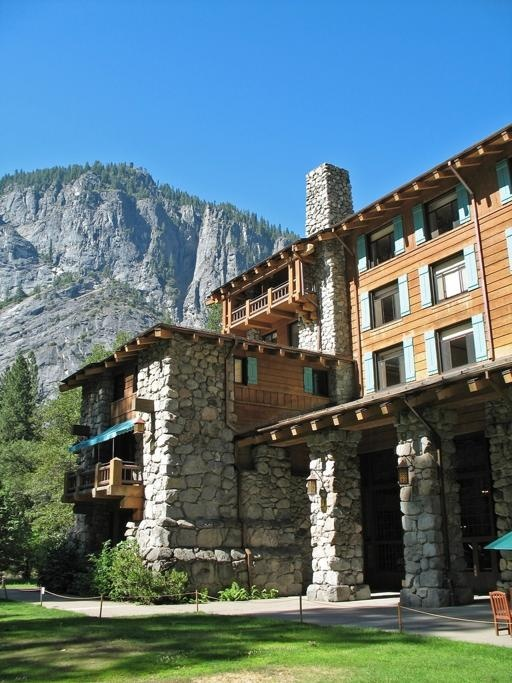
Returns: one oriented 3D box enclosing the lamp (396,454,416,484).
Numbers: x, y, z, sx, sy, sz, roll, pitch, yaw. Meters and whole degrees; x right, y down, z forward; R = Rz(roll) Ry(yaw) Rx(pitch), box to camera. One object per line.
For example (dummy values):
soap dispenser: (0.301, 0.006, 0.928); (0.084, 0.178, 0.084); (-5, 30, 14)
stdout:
lamp: (3.488, 3.054, 15.947); (0.259, 0.721, 0.510); (12, -22, -30)

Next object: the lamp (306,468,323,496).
lamp: (1.614, 3.911, 18.829); (0.286, 0.725, 0.689); (5, -19, -11)
